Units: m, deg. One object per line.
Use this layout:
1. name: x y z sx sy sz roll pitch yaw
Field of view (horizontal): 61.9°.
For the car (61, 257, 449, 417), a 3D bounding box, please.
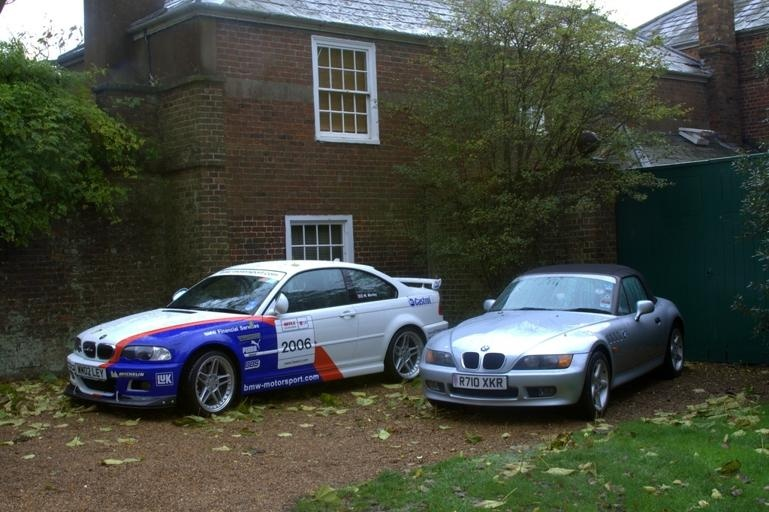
1. car: -1.935 1.271 10.213 5.385 2.203 1.430 -7 9 -35
